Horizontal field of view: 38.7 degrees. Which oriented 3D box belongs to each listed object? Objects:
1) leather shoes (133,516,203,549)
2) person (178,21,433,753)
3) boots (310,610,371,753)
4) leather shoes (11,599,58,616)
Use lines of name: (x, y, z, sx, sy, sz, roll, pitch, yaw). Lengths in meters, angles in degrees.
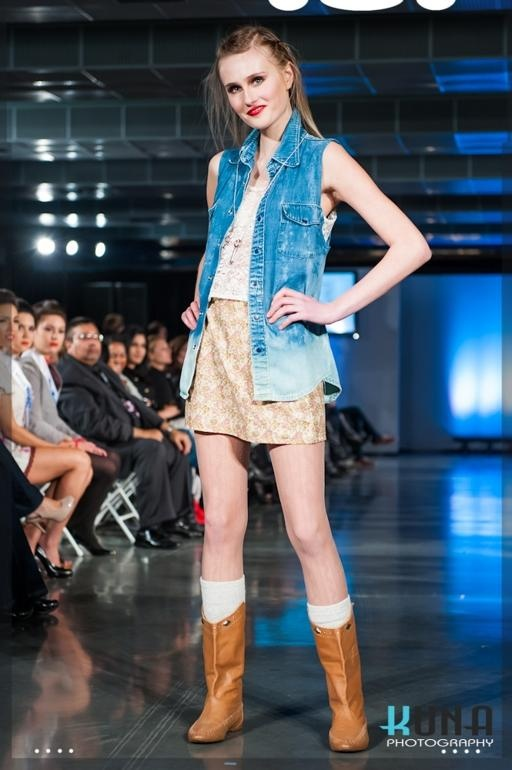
leather shoes: (-0.594, 0.987, 4.807, 0.475, 0.177, 0.141, -8, 5, -14)
person: (0.074, 0.024, 1.470, 0.441, 1.447, 0.428, 0, -1, -11)
boots: (0.172, 0.584, 1.461, 0.107, 0.260, 0.161, 0, -1, 14)
leather shoes: (-0.853, 0.856, 2.806, 0.161, 0.060, 0.051, -8, 25, -23)
